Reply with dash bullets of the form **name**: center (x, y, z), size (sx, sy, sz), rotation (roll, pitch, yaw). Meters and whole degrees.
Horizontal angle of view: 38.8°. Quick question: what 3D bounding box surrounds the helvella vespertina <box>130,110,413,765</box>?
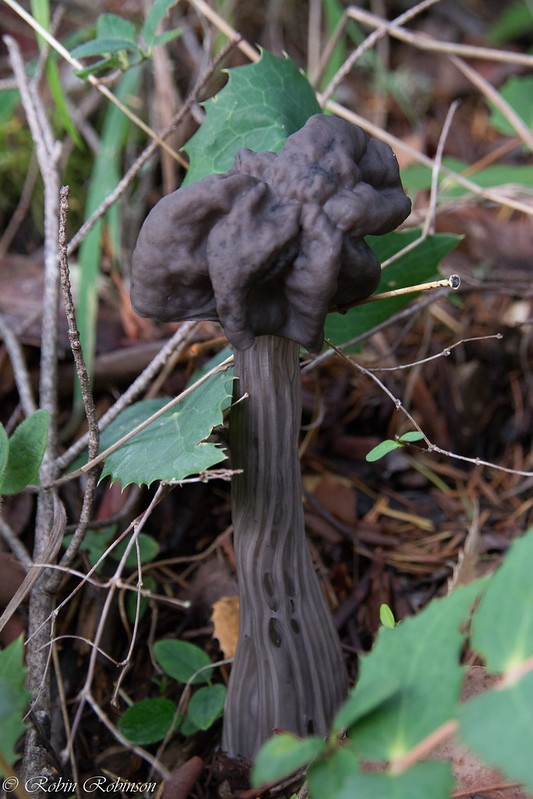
- **helvella vespertina**: center (0.057, 0.071, 1.319), size (0.498, 1.061, 0.377), rotation (-8, 22, -9)
